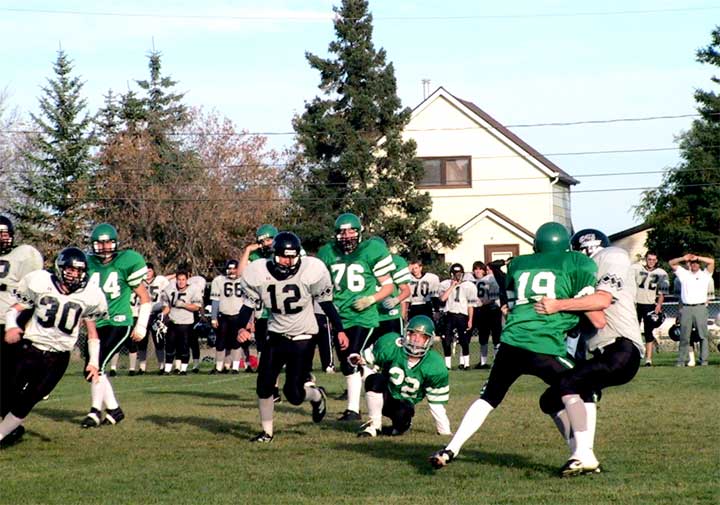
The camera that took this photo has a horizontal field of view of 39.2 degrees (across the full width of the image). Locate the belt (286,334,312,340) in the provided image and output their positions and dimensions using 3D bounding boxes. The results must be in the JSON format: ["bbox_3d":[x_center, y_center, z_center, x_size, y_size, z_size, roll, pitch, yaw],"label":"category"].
[{"bbox_3d":[-0.804,1.055,12.898,0.295,0.092,0.118,0,14,-1],"label":"belt"}]

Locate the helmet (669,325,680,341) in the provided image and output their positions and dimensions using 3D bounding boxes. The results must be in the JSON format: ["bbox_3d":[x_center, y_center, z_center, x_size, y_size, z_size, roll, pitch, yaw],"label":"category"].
[{"bbox_3d":[6.413,1.627,20.679,0.258,0.335,0.245,8,-2,-18],"label":"helmet"}]

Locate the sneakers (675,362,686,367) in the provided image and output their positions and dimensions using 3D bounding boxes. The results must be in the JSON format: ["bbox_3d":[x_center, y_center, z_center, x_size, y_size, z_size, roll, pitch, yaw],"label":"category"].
[{"bbox_3d":[6.282,2.195,19.865,0.101,0.061,0.164,0,-1,3],"label":"sneakers"}]

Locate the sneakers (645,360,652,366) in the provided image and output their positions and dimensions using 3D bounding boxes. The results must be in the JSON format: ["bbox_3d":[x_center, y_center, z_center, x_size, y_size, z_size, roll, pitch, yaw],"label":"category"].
[{"bbox_3d":[5.755,2.212,20.289,0.056,0.081,0.198,-14,20,11],"label":"sneakers"}]

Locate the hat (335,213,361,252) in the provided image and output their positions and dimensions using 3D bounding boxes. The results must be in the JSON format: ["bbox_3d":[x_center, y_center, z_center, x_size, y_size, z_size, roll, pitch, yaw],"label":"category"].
[{"bbox_3d":[-0.159,-0.339,14.846,0.394,0.538,0.519,-2,13,4],"label":"hat"}]

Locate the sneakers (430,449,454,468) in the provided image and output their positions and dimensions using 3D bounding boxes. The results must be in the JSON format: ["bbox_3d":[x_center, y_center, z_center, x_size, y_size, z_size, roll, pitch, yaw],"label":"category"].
[{"bbox_3d":[0.909,2.300,11.352,0.262,0.175,0.119,-17,2,3],"label":"sneakers"}]

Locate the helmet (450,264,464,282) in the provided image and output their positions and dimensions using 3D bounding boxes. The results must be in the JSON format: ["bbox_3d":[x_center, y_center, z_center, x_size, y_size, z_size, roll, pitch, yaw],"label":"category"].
[{"bbox_3d":[2.115,0.433,22.354,0.294,0.380,0.373,-1,-12,-3],"label":"helmet"}]

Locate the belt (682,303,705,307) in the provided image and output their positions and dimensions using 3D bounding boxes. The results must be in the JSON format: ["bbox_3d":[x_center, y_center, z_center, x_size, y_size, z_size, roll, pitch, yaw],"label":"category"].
[{"bbox_3d":[6.525,1.012,19.883,0.394,0.064,0.083,0,4,18],"label":"belt"}]

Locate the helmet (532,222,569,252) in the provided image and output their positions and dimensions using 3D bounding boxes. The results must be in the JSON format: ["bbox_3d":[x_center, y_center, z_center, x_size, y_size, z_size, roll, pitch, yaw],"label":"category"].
[{"bbox_3d":[2.213,-0.198,11.722,0.302,0.361,0.390,3,12,8],"label":"helmet"}]

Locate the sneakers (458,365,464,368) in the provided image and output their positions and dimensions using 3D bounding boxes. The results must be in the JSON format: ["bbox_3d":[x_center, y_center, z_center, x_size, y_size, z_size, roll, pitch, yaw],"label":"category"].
[{"bbox_3d":[2.174,2.464,22.002,0.152,0.074,0.200,4,-4,9],"label":"sneakers"}]

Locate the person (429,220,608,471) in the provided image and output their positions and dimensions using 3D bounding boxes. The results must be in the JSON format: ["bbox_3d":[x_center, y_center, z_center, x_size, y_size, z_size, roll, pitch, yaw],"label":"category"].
[{"bbox_3d":[1.897,0.969,11.542,1.544,2.576,0.613,-1,4,4],"label":"person"}]

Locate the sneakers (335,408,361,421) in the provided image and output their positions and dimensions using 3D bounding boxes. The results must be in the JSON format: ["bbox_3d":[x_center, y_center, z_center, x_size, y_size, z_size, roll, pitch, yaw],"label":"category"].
[{"bbox_3d":[-0.178,2.286,14.321,0.272,0.121,0.144,1,-2,21],"label":"sneakers"}]

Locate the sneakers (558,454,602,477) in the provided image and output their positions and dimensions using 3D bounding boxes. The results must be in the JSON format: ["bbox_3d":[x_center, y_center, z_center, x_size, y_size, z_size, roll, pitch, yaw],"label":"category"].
[{"bbox_3d":[2.446,2.370,11.354,0.502,0.254,0.186,-1,5,-10],"label":"sneakers"}]

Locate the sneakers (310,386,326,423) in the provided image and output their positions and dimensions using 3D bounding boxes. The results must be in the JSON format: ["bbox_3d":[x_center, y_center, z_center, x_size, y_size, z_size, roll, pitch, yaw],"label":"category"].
[{"bbox_3d":[-0.552,2.060,13.605,0.179,0.552,0.226,-1,1,-11],"label":"sneakers"}]

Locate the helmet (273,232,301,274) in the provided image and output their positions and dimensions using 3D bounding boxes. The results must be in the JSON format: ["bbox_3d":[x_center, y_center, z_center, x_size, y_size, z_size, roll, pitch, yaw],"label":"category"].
[{"bbox_3d":[-1.049,-0.025,12.911,0.355,0.517,0.503,1,10,-13],"label":"helmet"}]

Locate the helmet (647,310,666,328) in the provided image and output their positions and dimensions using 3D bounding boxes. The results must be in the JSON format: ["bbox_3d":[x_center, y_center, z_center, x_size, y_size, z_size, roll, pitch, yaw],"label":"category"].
[{"bbox_3d":[5.970,1.355,20.619,0.395,0.206,0.570,-1,2,21],"label":"helmet"}]

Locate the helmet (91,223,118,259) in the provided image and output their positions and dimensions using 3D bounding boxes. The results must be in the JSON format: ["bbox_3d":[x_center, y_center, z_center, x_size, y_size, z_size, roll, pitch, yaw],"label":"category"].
[{"bbox_3d":[-3.624,-0.146,14.237,0.363,0.461,0.485,-1,2,-9],"label":"helmet"}]

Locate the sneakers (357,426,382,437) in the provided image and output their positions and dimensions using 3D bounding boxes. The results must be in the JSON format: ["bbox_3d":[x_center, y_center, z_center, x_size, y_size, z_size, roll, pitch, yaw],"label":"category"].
[{"bbox_3d":[0.090,2.351,13.359,0.249,0.111,0.137,5,2,11],"label":"sneakers"}]

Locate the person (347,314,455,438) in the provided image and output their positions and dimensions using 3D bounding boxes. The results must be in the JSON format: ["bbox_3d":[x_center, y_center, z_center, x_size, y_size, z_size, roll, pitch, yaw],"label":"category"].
[{"bbox_3d":[0.479,1.712,13.735,1.047,1.311,0.713,24,0,19],"label":"person"}]

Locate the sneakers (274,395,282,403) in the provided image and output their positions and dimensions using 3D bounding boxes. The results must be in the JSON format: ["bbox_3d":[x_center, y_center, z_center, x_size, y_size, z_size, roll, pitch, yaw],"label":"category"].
[{"bbox_3d":[-1.325,2.331,16.163,0.081,0.106,0.247,0,-5,4],"label":"sneakers"}]

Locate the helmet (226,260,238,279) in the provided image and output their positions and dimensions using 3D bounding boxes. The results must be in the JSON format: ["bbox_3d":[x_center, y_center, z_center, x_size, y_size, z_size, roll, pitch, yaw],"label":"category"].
[{"bbox_3d":[-2.653,0.350,20.989,0.337,0.456,0.447,0,-3,-1],"label":"helmet"}]

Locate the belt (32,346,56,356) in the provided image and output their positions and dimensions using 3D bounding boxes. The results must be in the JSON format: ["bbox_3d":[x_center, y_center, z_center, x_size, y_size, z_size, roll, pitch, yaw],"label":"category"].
[{"bbox_3d":[-3.998,1.229,12.733,0.216,0.130,0.047,-2,4,-20],"label":"belt"}]

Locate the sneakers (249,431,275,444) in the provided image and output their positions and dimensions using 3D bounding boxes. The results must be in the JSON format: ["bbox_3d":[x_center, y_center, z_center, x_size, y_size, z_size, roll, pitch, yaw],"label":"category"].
[{"bbox_3d":[-1.293,2.385,13.096,0.237,0.106,0.134,4,-2,14],"label":"sneakers"}]

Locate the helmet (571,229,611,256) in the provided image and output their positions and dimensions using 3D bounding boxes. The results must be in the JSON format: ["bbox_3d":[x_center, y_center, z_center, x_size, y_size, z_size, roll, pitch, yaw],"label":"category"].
[{"bbox_3d":[2.636,-0.104,11.597,0.393,0.354,0.301,-1,-9,13],"label":"helmet"}]
